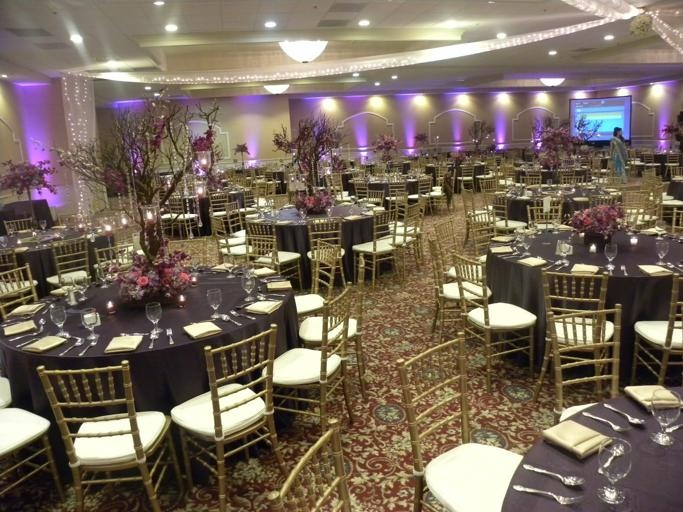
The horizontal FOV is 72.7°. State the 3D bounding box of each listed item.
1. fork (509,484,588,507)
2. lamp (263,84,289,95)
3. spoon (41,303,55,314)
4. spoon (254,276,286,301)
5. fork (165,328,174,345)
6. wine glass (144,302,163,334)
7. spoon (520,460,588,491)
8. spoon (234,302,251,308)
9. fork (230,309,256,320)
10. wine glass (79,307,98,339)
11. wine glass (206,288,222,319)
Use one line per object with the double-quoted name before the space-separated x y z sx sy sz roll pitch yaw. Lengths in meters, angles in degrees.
"fork" 0.836 0.959 1.855 0.259 0.041 0.052 0 24 36
"lamp" -2.184 -5.479 15.251 0.835 0.286 0.778 -3 11 0
"spoon" -2.335 0.419 3.678 0.035 0.033 0.196 -21 16 0
"spoon" -0.634 0.270 3.934 0.186 0.022 0.202 7 27 39
"fork" -1.165 0.550 3.149 0.042 0.027 0.260 -9 22 -15
"wine glass" -1.341 0.422 3.312 0.089 0.199 0.313 -12 12 -25
"spoon" 0.887 0.914 1.957 0.067 0.045 0.276 -16 8 -31
"spoon" -0.768 0.382 3.586 0.035 0.028 0.164 6 11 18
"fork" -0.728 0.436 3.422 0.209 0.034 0.029 11 -12 41
"wine glass" -1.762 0.460 3.257 0.104 0.197 0.297 -13 13 -29
"wine glass" -0.959 0.334 3.494 0.093 0.212 0.325 -10 12 -18
